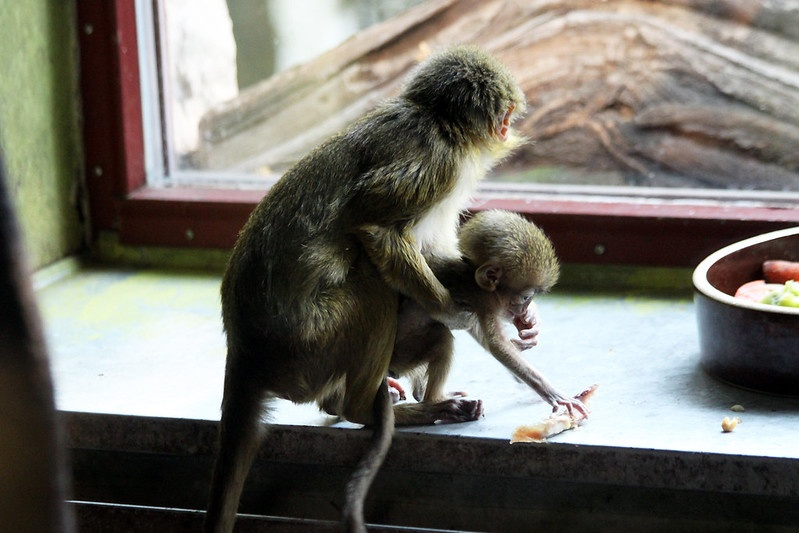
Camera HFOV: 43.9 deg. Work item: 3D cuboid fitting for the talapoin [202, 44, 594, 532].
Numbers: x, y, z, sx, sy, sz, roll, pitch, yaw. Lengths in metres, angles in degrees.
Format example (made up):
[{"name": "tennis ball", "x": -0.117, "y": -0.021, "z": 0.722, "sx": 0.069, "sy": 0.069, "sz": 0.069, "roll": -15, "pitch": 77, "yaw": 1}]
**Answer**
[{"name": "talapoin", "x": -0.106, "y": 0.032, "z": 1.918, "sx": 0.421, "sy": 0.856, "sz": 0.624, "roll": 12, "pitch": 23, "yaw": 26}]
